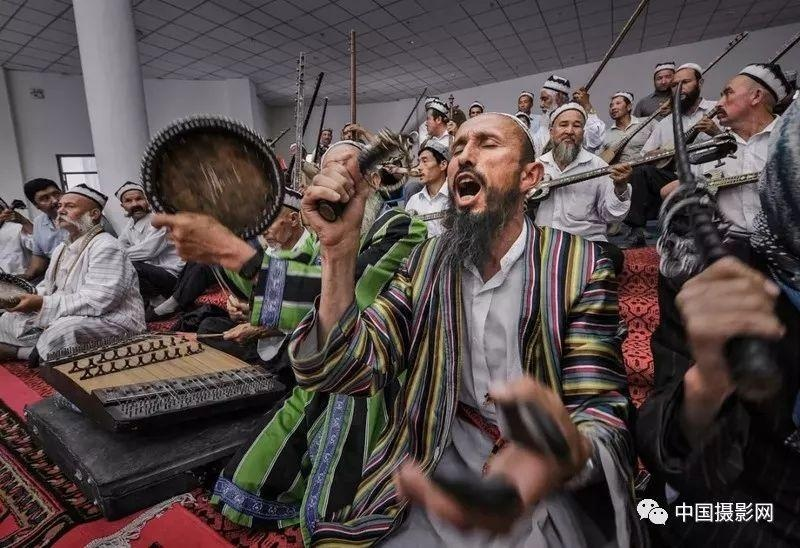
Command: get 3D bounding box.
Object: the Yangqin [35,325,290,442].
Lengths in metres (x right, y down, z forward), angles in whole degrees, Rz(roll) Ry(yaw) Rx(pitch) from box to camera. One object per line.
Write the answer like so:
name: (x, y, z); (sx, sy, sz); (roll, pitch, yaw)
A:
Yangqin: (-1.651, 0.572, 3.437); (1.362, 0.476, 1.184); (-9, 15, -43)

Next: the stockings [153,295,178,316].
stockings: (-2.892, 0.378, 6.129); (0.254, 0.104, 0.087); (-33, 47, 6)

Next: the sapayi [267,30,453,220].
sapayi: (-0.072, -0.587, 2.596); (0.390, 0.426, 1.175); (-1, 15, 11)
